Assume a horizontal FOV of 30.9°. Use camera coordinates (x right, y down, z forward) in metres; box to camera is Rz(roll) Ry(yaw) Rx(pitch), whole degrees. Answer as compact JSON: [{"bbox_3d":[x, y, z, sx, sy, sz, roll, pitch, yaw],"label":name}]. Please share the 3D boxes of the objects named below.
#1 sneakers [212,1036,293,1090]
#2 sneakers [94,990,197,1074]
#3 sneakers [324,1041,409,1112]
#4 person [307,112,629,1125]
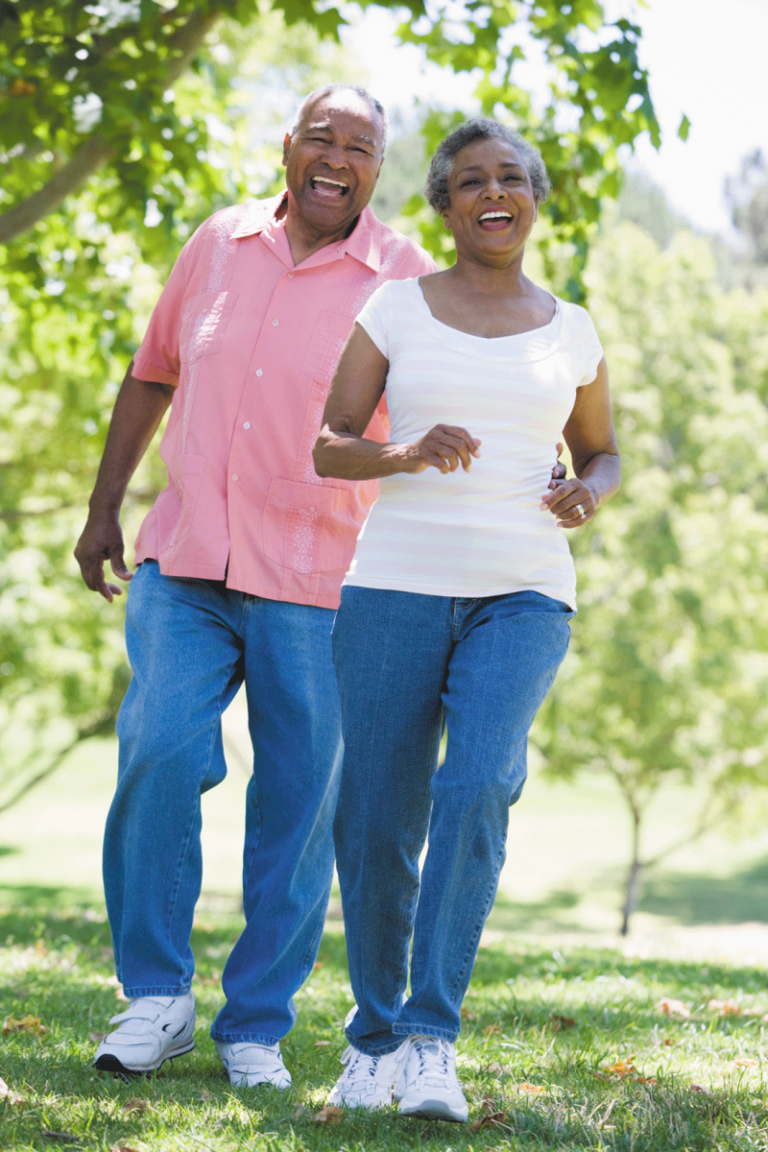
[{"bbox_3d":[-0.299,1.157,3.291,0.165,0.101,0.213,7,0,-14],"label":"sneakers"},{"bbox_3d":[-0.559,1.099,3.288,0.124,0.190,0.342,9,1,18],"label":"sneakers"},{"bbox_3d":[-0.043,1.119,3.076,0.098,0.087,0.241,8,-11,7],"label":"sneakers"},{"bbox_3d":[0.105,0.064,3.086,0.635,2.268,0.676,10,1,1],"label":"person"}]
